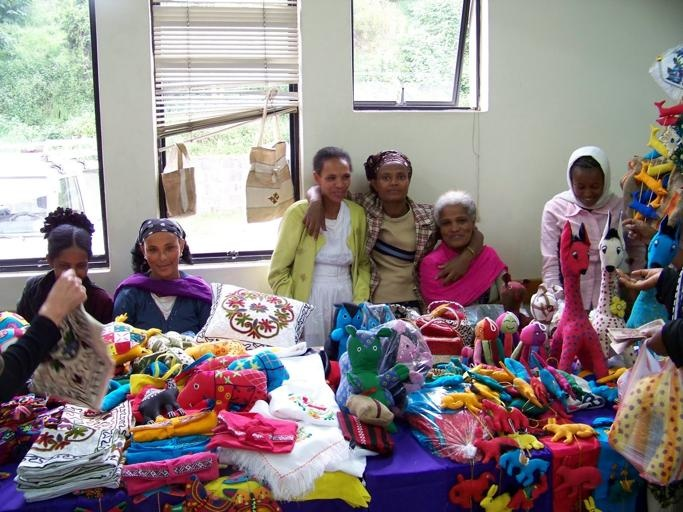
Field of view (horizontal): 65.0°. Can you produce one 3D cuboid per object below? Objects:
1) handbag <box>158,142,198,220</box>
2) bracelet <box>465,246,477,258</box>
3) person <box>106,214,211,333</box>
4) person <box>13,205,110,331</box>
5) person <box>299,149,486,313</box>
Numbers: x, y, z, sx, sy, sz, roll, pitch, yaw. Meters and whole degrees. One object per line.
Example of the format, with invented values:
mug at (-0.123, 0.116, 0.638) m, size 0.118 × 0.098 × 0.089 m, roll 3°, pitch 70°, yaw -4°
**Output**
handbag at (-1.103, -0.510, 3.648) m, size 0.212 × 0.502 × 0.146 m, roll -4°, pitch 10°, yaw -18°
bracelet at (0.860, -0.027, 3.542) m, size 0.043 × 0.023 × 0.058 m, roll -12°, pitch 57°, yaw -26°
person at (-1.158, 0.122, 3.307) m, size 0.662 × 0.970 × 0.335 m, roll -3°, pitch -1°, yaw -22°
person at (-1.575, 0.069, 3.002) m, size 0.559 × 0.729 × 0.368 m, roll -6°, pitch 29°, yaw -35°
person at (0.296, -0.136, 3.584) m, size 1.022 × 1.484 × 0.502 m, roll 0°, pitch -8°, yaw -11°
